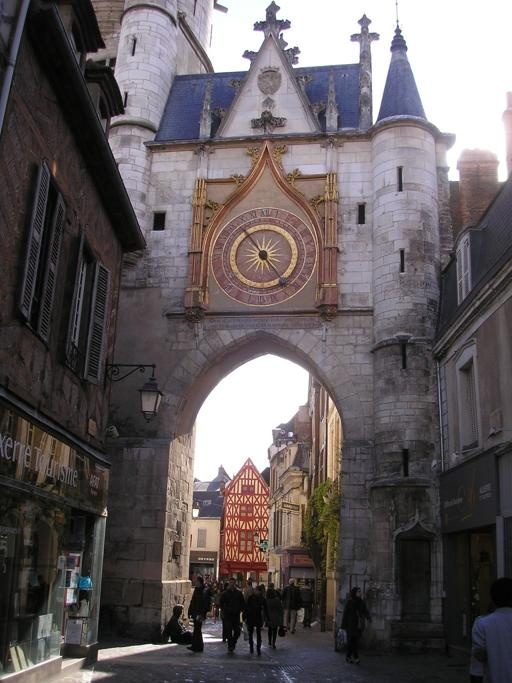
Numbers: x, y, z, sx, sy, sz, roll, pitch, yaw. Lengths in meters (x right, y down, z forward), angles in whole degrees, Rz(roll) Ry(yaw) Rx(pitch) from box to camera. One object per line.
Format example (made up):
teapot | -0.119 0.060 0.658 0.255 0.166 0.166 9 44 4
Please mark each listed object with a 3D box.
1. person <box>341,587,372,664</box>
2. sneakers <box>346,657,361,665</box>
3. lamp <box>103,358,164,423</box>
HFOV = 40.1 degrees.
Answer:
person | 1.739 4.895 12.211 0.458 1.224 1.732 -1 -22 7
sneakers | 1.627 5.268 11.591 0.094 0.139 0.292 5 -9 -16
lamp | -1.923 0.800 10.886 0.873 1.127 0.491 6 -36 -13
